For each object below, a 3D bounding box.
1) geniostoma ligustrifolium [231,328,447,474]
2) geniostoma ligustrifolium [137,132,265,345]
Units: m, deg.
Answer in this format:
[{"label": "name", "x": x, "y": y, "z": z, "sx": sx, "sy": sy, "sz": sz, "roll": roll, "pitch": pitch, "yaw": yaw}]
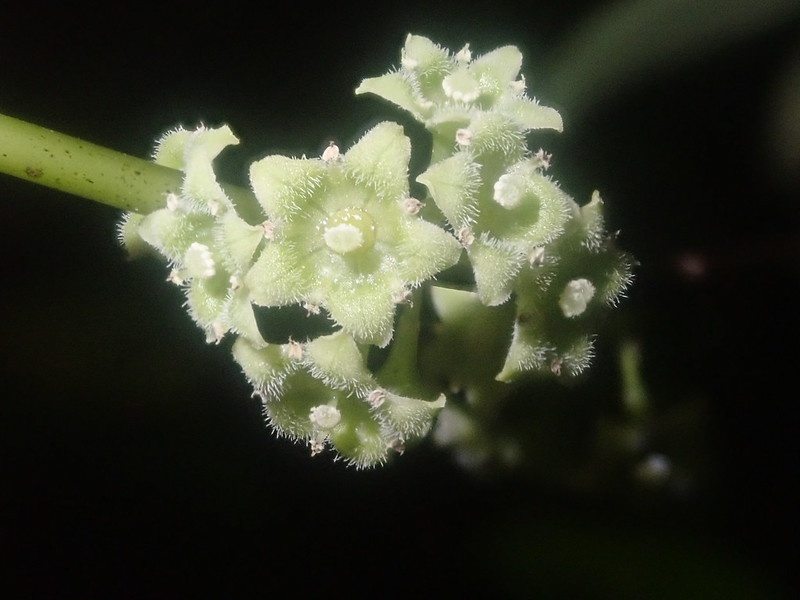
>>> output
[{"label": "geniostoma ligustrifolium", "x": -0.266, "y": 0.396, "z": 3.930, "sx": 0.711, "sy": 0.258, "sz": 0.574, "roll": 17, "pitch": -39, "yaw": 1}, {"label": "geniostoma ligustrifolium", "x": -0.780, "y": -0.254, "z": 3.794, "sx": 0.253, "sy": 0.741, "sz": 0.799, "roll": -12, "pitch": -78, "yaw": -36}]
